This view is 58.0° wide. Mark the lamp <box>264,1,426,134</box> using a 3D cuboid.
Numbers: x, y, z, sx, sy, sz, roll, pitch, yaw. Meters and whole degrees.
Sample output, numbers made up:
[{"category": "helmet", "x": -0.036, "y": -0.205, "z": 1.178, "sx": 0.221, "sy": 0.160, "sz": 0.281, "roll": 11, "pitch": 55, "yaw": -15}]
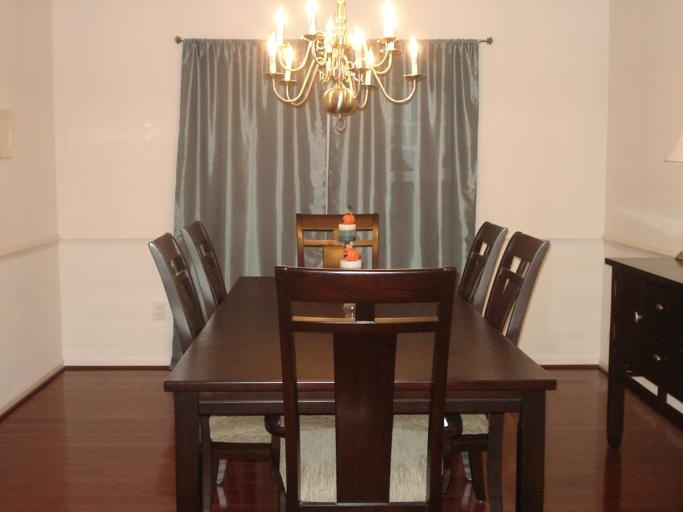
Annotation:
[{"category": "lamp", "x": 0.011, "y": -1.169, "z": 3.912, "sx": 0.754, "sy": 1.183, "sz": 0.946, "roll": -1, "pitch": 7, "yaw": -5}]
